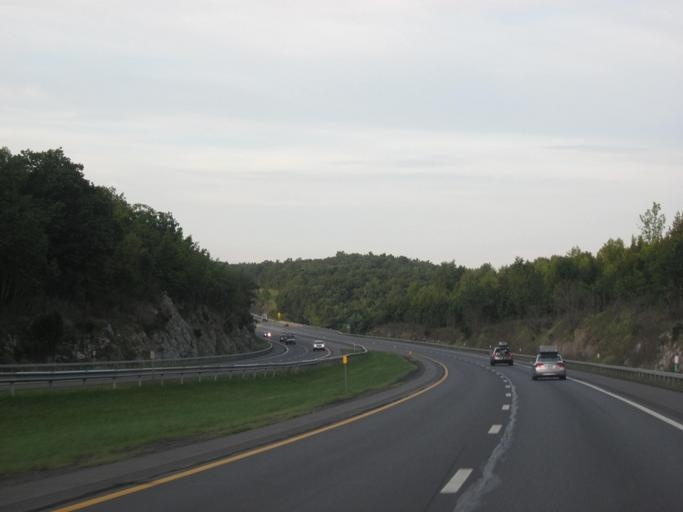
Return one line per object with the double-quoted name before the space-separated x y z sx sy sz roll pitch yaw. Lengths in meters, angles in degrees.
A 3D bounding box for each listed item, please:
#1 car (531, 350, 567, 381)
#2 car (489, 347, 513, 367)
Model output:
"car" 11.387 6.187 42.944 0.939 1.160 2.344 -2 -12 6
"car" 13.431 8.538 64.856 1.088 1.231 2.189 -1 0 7
